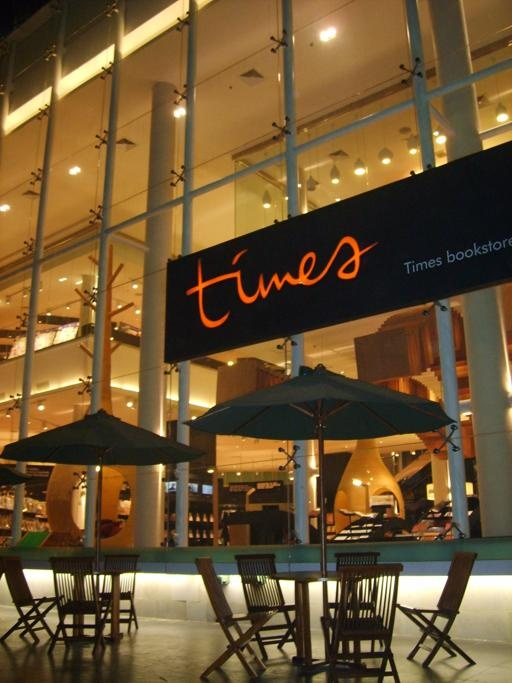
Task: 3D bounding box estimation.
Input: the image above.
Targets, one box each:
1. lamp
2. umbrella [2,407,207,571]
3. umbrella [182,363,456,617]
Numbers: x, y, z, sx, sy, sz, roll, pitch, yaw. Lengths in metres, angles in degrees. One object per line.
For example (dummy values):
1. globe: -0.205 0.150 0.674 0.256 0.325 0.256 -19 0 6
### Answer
1. lamp: 1.510 -2.330 7.035 0.444 0.807 2.973 34 -37 -30
2. umbrella: -1.433 1.317 5.977 1.710 1.171 1.645 -11 -25 27
3. umbrella: 0.461 0.789 4.443 1.728 1.612 1.800 -2 -11 16
